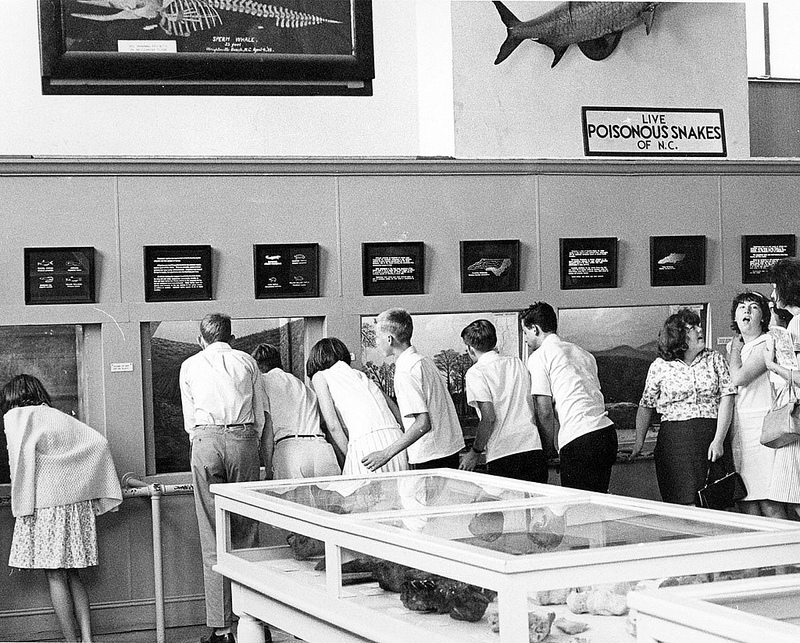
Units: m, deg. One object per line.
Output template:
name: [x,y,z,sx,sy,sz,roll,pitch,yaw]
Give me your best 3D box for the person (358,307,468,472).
person: [0.049,0.429,5.960,0.459,1.505,0.624,-2,8,30]
